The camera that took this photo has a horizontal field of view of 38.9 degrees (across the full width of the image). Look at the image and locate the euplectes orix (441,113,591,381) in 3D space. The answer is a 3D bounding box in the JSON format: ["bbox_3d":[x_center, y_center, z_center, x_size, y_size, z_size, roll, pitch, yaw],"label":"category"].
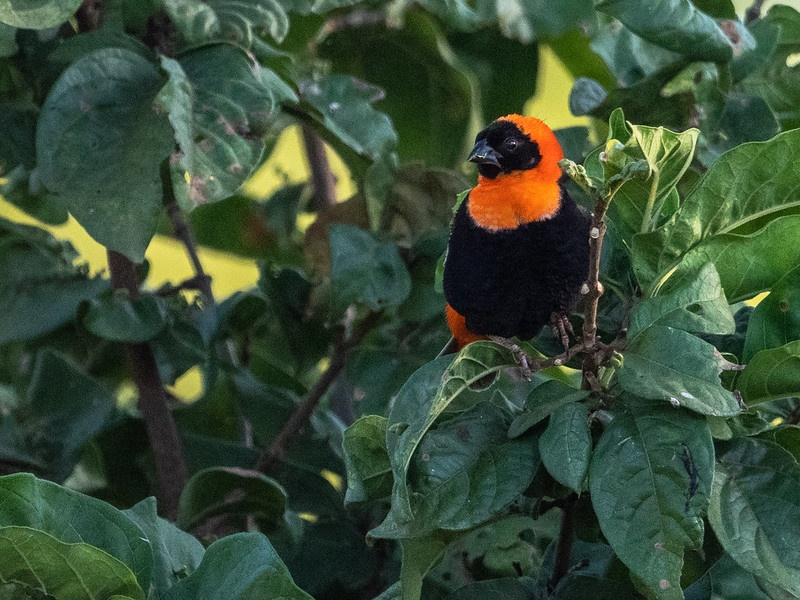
[{"bbox_3d":[0.211,-0.150,2.448,0.308,0.530,0.521,-10,14,-13],"label":"euplectes orix"}]
